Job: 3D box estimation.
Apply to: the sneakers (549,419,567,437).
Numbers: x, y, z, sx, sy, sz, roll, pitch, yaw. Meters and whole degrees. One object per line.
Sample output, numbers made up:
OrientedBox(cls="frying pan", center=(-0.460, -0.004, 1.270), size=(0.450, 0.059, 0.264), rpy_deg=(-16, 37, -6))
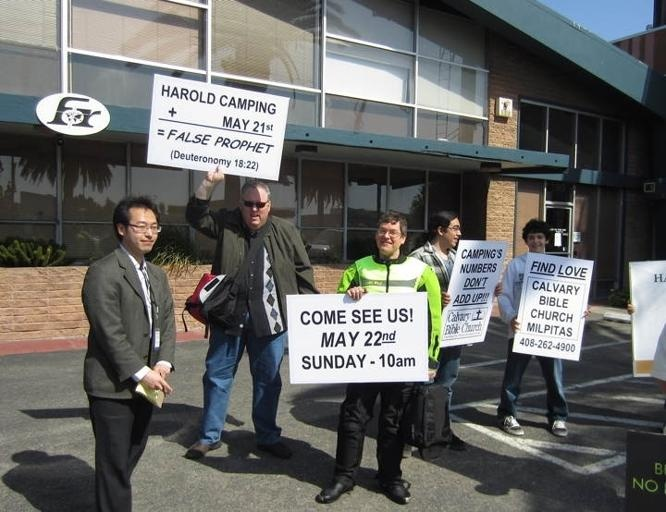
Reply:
OrientedBox(cls="sneakers", center=(2.613, 1.994, 7.340), size=(0.204, 0.168, 0.195), rpy_deg=(4, 7, 19))

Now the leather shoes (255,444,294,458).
OrientedBox(cls="leather shoes", center=(-0.624, 2.034, 6.662), size=(0.354, 0.163, 0.147), rpy_deg=(-1, 2, 29))

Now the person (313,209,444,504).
OrientedBox(cls="person", center=(0.482, 0.938, 6.083), size=(1.070, 2.687, 0.890), rpy_deg=(2, 6, 8))

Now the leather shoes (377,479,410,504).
OrientedBox(cls="leather shoes", center=(0.596, 2.220, 5.970), size=(0.148, 0.128, 0.286), rpy_deg=(1, -1, -26))

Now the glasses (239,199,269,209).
OrientedBox(cls="glasses", center=(-0.804, -0.522, 6.487), size=(0.252, 0.086, 0.065), rpy_deg=(1, 7, -8))

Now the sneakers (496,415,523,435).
OrientedBox(cls="sneakers", center=(2.062, 1.996, 7.425), size=(0.124, 0.147, 0.349), rpy_deg=(-1, -8, -16))

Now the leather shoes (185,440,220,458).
OrientedBox(cls="leather shoes", center=(-1.356, 2.011, 6.589), size=(0.135, 0.125, 0.384), rpy_deg=(0, -3, 29))

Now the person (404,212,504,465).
OrientedBox(cls="person", center=(1.435, 0.776, 6.922), size=(0.835, 2.425, 0.835), rpy_deg=(-7, -11, 11))

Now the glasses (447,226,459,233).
OrientedBox(cls="glasses", center=(1.340, -0.295, 6.959), size=(0.071, 0.090, 0.205), rpy_deg=(7, 9, 38))

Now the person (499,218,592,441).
OrientedBox(cls="person", center=(2.361, 0.821, 7.473), size=(0.842, 2.463, 0.683), rpy_deg=(2, 6, 7))
